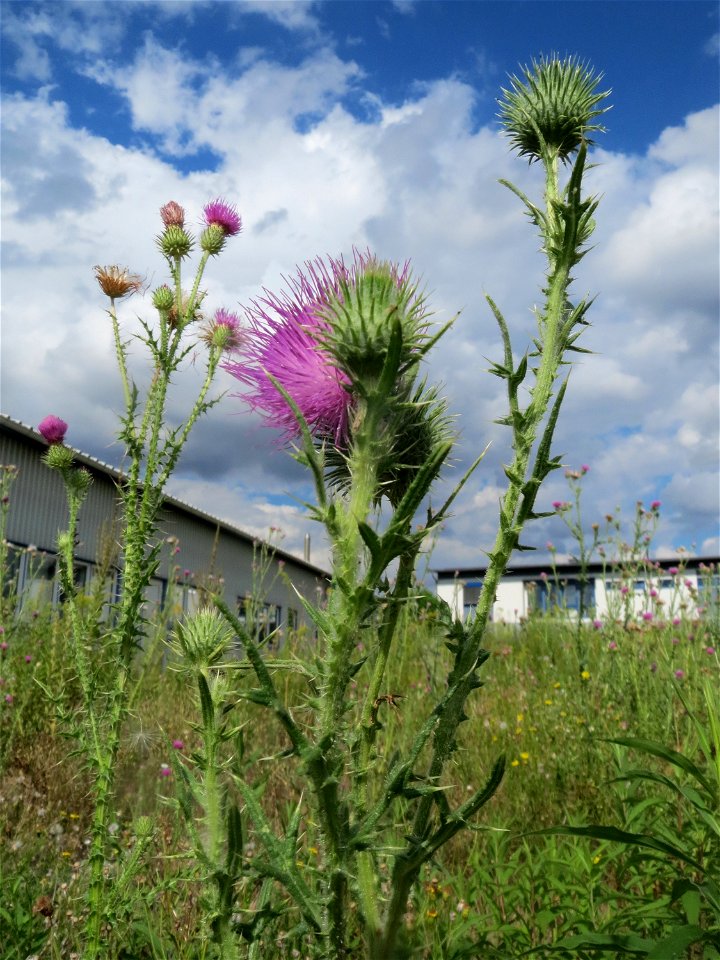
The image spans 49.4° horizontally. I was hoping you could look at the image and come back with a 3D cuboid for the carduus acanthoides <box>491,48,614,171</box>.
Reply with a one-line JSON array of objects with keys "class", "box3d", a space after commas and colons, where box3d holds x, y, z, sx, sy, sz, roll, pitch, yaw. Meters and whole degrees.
[{"class": "carduus acanthoides", "box3d": [0.385, -0.719, 1.544, 0.169, 0.204, 0.157, 5, 12, 27]}]
